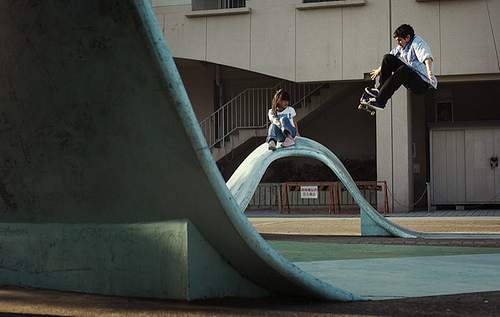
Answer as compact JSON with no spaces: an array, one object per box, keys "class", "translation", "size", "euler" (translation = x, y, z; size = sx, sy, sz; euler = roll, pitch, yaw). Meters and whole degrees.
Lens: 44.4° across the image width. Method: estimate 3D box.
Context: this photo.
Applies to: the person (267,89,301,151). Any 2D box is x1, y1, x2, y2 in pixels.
[{"class":"person","translation":[0.616,-0.737,11.404],"size":[0.577,1.205,1.150],"euler":[-2,-2,2]}]
